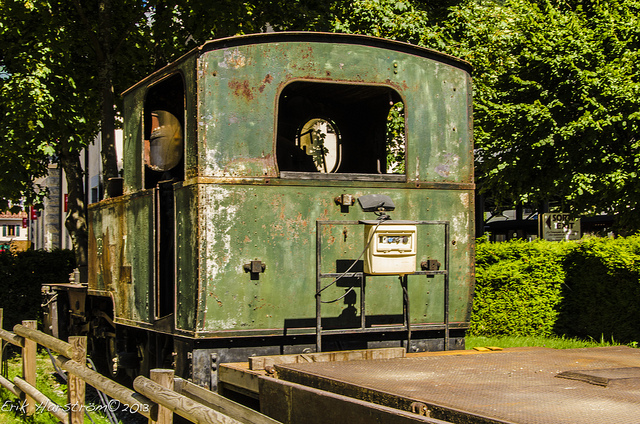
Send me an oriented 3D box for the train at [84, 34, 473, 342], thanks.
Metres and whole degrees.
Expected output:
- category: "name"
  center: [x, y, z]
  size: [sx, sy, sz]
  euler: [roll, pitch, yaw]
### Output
- category: "train"
  center: [-0.502, -0.292, 15.218]
  size: [5.880, 4.671, 2.134]
  euler: [0, -6, -2]
